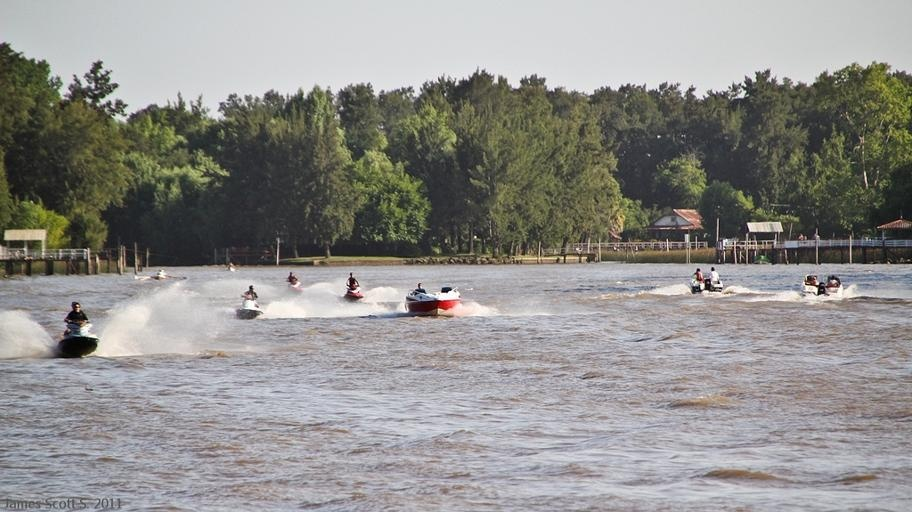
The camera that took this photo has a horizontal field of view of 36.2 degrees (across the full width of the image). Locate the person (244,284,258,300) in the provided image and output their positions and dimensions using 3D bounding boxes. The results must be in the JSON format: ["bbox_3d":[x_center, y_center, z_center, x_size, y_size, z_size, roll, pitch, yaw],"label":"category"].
[{"bbox_3d":[-23.733,4.166,160.655,1.378,2.344,0.849,6,21,4],"label":"person"}]

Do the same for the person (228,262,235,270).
[{"bbox_3d":[-35.653,1.569,219.964,0.881,1.160,2.004,1,5,-6],"label":"person"}]

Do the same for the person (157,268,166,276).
[{"bbox_3d":[-43.318,2.334,204.369,1.329,0.536,0.983,1,7,13],"label":"person"}]

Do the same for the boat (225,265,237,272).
[{"bbox_3d":[-34.489,1.888,214.354,1.415,0.770,1.762,1,-1,-10],"label":"boat"}]

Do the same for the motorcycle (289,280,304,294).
[{"bbox_3d":[-19.582,3.936,169.673,1.775,1.235,0.788,17,-26,-10],"label":"motorcycle"}]
